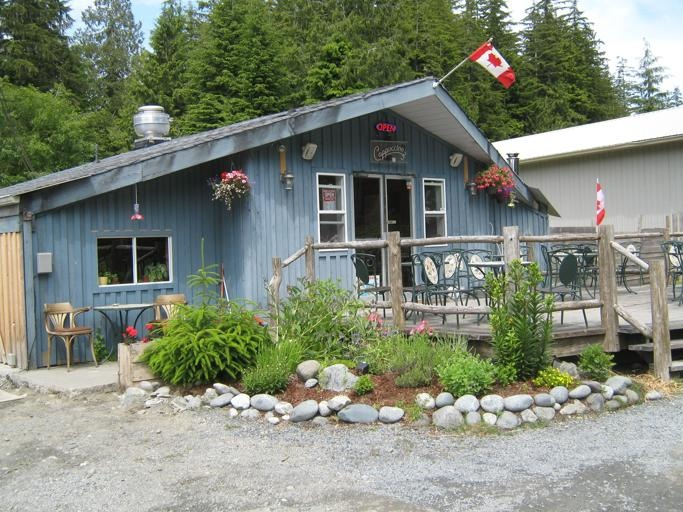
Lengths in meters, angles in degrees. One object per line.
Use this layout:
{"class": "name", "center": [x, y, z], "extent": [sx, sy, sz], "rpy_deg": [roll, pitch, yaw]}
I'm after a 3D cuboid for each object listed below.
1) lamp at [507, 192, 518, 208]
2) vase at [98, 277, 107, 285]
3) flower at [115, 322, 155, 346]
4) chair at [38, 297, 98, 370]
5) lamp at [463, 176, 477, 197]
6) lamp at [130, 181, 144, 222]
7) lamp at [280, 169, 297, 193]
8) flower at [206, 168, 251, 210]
{"class": "lamp", "center": [3.504, -1.176, 14.098], "extent": [0.259, 0.426, 0.257], "rpy_deg": [0, -2, 15]}
{"class": "vase", "center": [-3.691, 0.373, 10.727], "extent": [0.089, 0.104, 0.100], "rpy_deg": [2, -2, -2]}
{"class": "flower", "center": [-3.036, 1.127, 10.136], "extent": [0.438, 0.270, 0.419], "rpy_deg": [-3, 1, -40]}
{"class": "chair", "center": [-3.945, 1.121, 10.007], "extent": [0.579, 0.933, 0.732], "rpy_deg": [-5, -3, 18]}
{"class": "lamp", "center": [2.550, -1.391, 13.680], "extent": [0.285, 0.673, 0.277], "rpy_deg": [-1, 1, 7]}
{"class": "lamp", "center": [-3.215, -0.828, 10.830], "extent": [0.205, 0.592, 0.395], "rpy_deg": [-6, 15, -16]}
{"class": "lamp", "center": [-0.876, -1.303, 11.501], "extent": [0.237, 0.384, 0.262], "rpy_deg": [1, -1, -10]}
{"class": "flower", "center": [-1.765, -1.136, 11.307], "extent": [0.568, 0.508, 0.645], "rpy_deg": [-1, 5, 6]}
